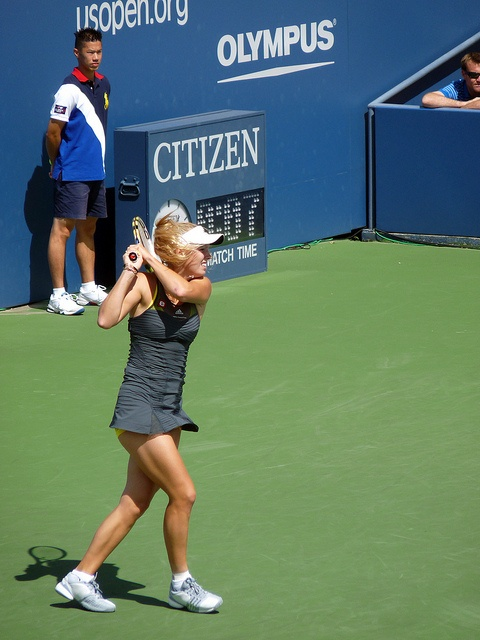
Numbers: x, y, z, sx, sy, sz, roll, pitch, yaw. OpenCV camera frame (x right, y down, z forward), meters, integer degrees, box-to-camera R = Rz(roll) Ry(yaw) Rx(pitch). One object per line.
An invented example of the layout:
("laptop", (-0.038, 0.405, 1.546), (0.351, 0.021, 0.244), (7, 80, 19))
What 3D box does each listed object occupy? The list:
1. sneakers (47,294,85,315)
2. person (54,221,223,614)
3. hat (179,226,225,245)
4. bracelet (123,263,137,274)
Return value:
("sneakers", (-1.583, -0.141, 7.324), (0.345, 0.153, 0.159), (5, 6, 32))
("person", (-0.282, 0.383, 2.830), (0.501, 1.402, 0.662), (7, 17, 27))
("hat", (-0.150, -0.290, 2.869), (0.126, 0.038, 0.080), (0, 5, 31))
("bracelet", (-0.368, -0.167, 2.715), (0.044, 0.037, 0.048), (-3, 15, -8))
